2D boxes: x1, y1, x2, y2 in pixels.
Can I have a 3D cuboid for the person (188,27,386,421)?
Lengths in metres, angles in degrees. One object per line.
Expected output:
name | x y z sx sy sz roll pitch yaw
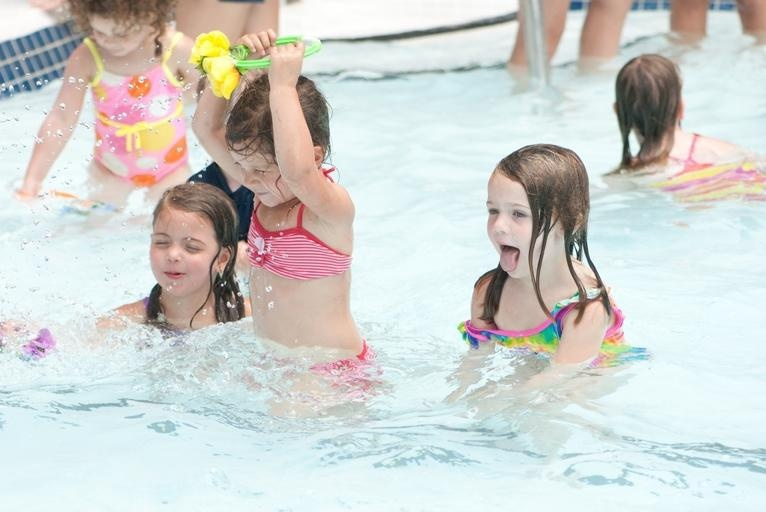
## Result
person | -0.332 -0.134 2.338 0.470 1.178 0.742 -9 27 -12

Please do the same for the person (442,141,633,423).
person | 0.648 0.066 2.563 0.854 0.833 0.740 2 2 23
